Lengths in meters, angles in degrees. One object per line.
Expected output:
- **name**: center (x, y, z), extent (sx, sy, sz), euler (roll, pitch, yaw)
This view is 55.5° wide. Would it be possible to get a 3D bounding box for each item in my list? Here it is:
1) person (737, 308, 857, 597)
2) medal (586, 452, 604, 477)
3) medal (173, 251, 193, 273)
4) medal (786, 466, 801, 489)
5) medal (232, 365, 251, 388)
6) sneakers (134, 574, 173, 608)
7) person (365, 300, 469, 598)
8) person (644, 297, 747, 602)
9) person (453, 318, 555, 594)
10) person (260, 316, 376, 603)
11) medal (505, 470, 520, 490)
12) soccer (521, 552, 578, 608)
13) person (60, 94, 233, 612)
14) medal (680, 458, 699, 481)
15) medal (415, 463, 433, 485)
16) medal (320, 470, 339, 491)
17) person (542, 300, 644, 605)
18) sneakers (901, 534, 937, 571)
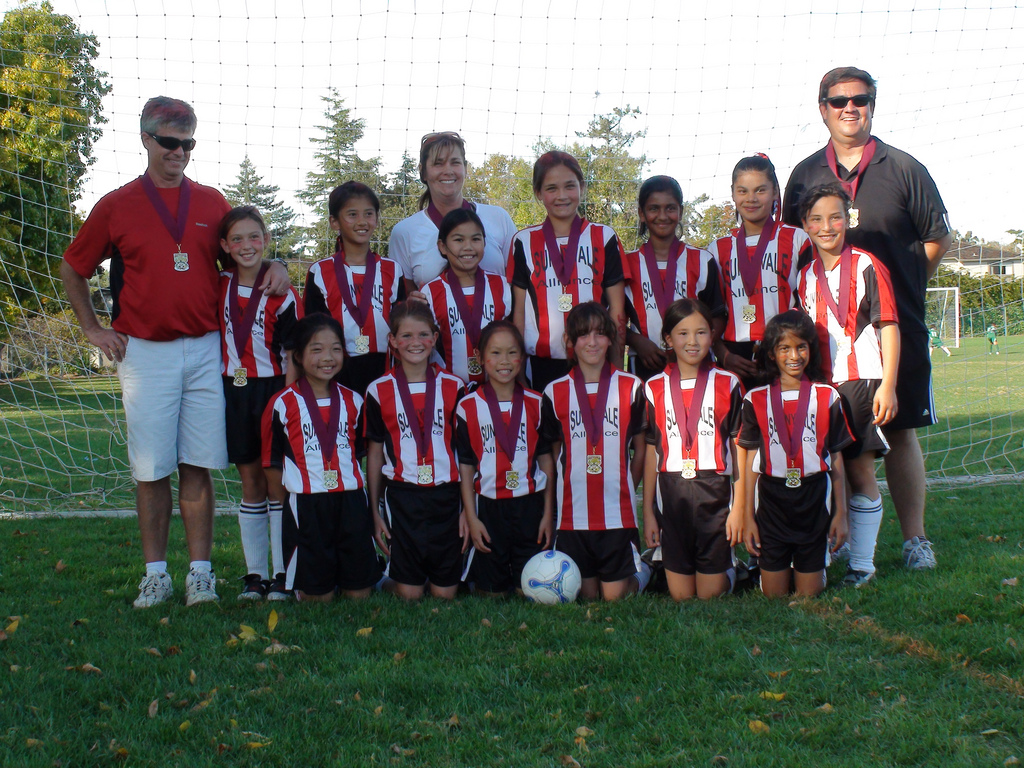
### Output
- **person**: center (1.916, 0.685, 6.551), extent (0.689, 2.442, 0.596), euler (0, 27, 18)
- **medal**: center (0.556, 0.546, 6.488), extent (0.136, 0.183, 0.028), euler (1, -5, 1)
- **medal**: center (-2.207, -0.813, 6.487), extent (0.120, 0.182, 0.025), euler (-1, -4, -24)
- **medal**: center (1.824, 0.609, 6.288), extent (0.126, 0.163, 0.021), euler (-1, 3, 4)
- **medal**: center (-1.861, -0.057, 6.661), extent (0.125, 0.195, 0.025), euler (2, 13, 2)
- **sneakers**: center (-2.398, 1.369, 6.469), extent (0.234, 0.196, 0.373), euler (-4, 10, -16)
- **person**: center (-0.619, 0.783, 6.749), extent (0.674, 2.686, 0.602), euler (-4, 17, -12)
- **person**: center (1.212, 0.729, 6.589), extent (0.619, 2.569, 0.528), euler (-1, 12, 11)
- **person**: center (-0.005, 0.719, 6.725), extent (0.681, 2.328, 0.589), euler (-6, 21, -11)
- **person**: center (-1.303, 0.493, 6.533), extent (0.715, 1.882, 0.418), euler (-4, 8, -18)
- **medal**: center (-0.002, 0.648, 6.517), extent (0.110, 0.175, 0.022), euler (1, 3, -5)
- **soccer**: center (0.255, 1.267, 6.321), extent (0.397, 0.291, 0.229), euler (-2, 9, 1)
- **person**: center (-2.363, -0.223, 6.507), extent (0.984, 3.338, 0.728), euler (-4, 8, -14)
- **medal**: center (1.171, 0.563, 6.379), extent (0.126, 0.171, 0.013), euler (1, -1, 8)
- **medal**: center (-0.589, 0.610, 6.516), extent (0.119, 0.164, 0.022), euler (-2, -1, -2)
- **medal**: center (-1.224, 0.647, 6.486), extent (0.113, 0.179, 0.024), euler (0, -11, -17)
- **person**: center (0.587, 0.773, 6.823), extent (0.664, 2.765, 0.586), euler (0, 28, 7)
- **sneakers**: center (2.804, 1.161, 6.644), extent (0.208, 0.177, 0.259), euler (1, 10, 19)
